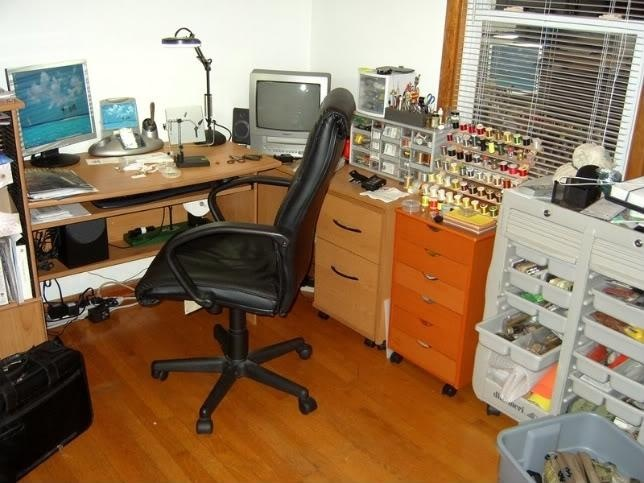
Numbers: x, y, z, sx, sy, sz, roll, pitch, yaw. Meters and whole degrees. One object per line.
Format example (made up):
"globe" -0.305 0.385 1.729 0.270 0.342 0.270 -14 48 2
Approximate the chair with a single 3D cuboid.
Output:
"chair" -0.383 0.061 2.375 0.965 1.377 0.856 3 18 2

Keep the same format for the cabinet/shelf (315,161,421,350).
"cabinet/shelf" 0.316 0.090 2.998 0.642 0.878 0.612 14 26 25

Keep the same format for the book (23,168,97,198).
"book" -1.271 -0.288 2.407 0.288 0.033 0.314 -18 35 -34

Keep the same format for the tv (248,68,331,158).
"tv" -0.219 -0.858 3.372 0.516 0.516 0.290 4 21 1

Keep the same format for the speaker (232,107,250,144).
"speaker" -0.551 -0.773 3.314 0.151 0.227 0.128 -8 20 -40

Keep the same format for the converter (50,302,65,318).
"converter" -1.573 0.413 2.972 0.086 0.074 0.050 -3 17 -36

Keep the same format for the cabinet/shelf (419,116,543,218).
"cabinet/shelf" 0.818 -0.371 2.535 0.443 0.397 0.238 26 24 22

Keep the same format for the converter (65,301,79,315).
"converter" -1.521 0.408 3.042 0.069 0.119 0.072 -4 10 -40

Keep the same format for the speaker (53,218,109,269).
"speaker" -1.208 0.006 2.503 0.194 0.256 0.136 -15 30 -42

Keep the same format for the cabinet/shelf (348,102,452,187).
"cabinet/shelf" 0.444 -0.553 2.947 0.160 0.314 0.560 -25 38 -38

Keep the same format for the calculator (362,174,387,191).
"calculator" 0.294 -0.344 2.783 0.085 0.046 0.111 24 38 38

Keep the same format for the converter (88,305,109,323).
"converter" -1.345 0.437 3.020 0.108 0.073 0.108 18 22 37
